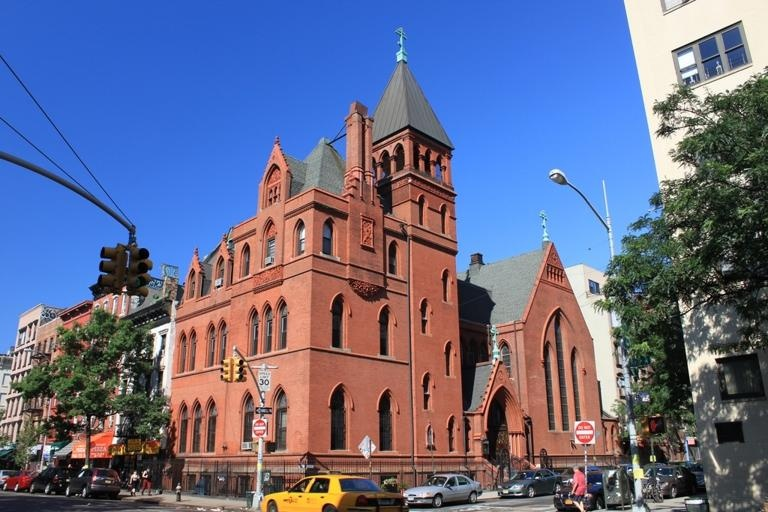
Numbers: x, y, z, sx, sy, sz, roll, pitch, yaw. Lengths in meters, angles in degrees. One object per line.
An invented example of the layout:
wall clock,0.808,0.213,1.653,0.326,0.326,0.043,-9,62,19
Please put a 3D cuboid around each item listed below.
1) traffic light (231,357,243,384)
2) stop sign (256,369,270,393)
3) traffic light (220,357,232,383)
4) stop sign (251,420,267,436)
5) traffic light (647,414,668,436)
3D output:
traffic light,-8.124,6.310,32.405,0.635,1.297,0.766,4,-25,-12
stop sign,-7.123,7.314,34.438,0.670,1.360,1.120,5,-25,-15
traffic light,-8.687,6.274,32.296,0.585,1.333,0.747,2,-25,-10
stop sign,-7.277,10.134,33.900,0.594,1.050,0.833,17,-31,-36
traffic light,11.886,7.316,24.923,0.727,1.013,0.855,1,-3,-9
